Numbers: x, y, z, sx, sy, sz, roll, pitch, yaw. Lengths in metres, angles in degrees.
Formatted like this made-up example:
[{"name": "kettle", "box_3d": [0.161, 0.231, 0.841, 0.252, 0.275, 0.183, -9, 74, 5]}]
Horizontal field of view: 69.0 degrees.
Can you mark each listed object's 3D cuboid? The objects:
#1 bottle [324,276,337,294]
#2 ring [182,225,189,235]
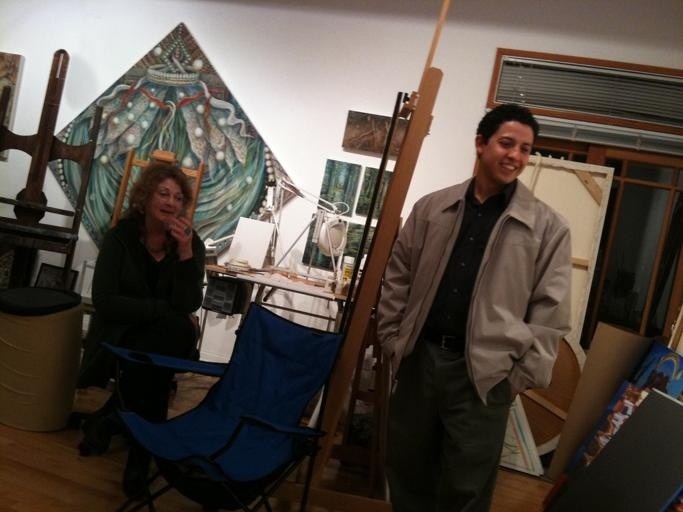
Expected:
[{"name": "bottle", "box_3d": [-0.086, 0.226, 3.858, 0.067, 0.093, 0.132, -1, -1, 10]}, {"name": "ring", "box_3d": [-0.965, -0.158, 3.129, 0.035, 0.063, 0.068, -2, -3, 16]}]
